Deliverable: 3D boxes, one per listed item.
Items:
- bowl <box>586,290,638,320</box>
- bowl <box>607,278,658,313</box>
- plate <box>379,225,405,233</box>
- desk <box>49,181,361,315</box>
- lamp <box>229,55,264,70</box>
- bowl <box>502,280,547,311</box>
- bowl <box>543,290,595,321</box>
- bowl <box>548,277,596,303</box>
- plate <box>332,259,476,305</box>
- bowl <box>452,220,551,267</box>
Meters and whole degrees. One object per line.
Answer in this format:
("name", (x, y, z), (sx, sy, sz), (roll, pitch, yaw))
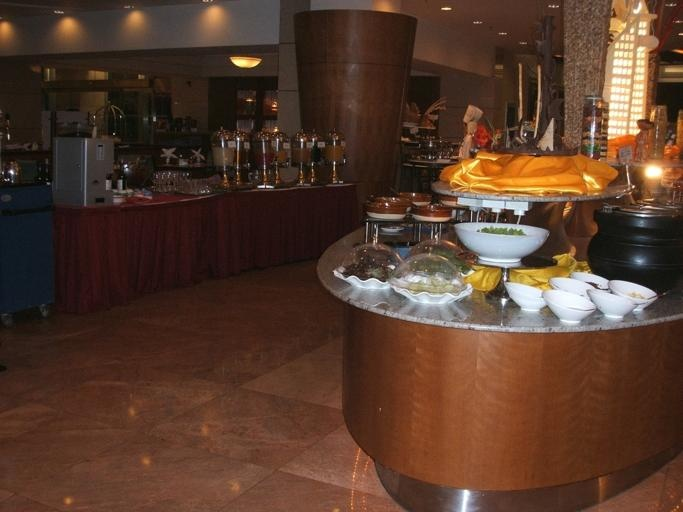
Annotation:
("bowl", (1.021, 0.185, 2.061), (0.131, 0.056, 0.121), (12, 15, -3))
("bowl", (1.170, 0.147, 2.178), (0.136, 0.053, 0.136), (10, 14, -3))
("plate", (0.329, -0.168, 3.435), (0.177, 0.040, 0.069), (-2, 14, -18))
("desk", (-1.231, -0.181, 5.693), (0.344, 0.945, 3.308), (13, 17, 37))
("lamp", (-2.067, -4.192, 11.531), (0.558, 0.265, 1.103), (0, 14, -12))
("bowl", (0.736, 0.171, 2.188), (0.164, 0.099, 0.099), (7, 14, 19))
("bowl", (0.879, 0.219, 2.087), (0.177, 0.080, 0.190), (2, -6, 0))
("bowl", (0.941, 0.130, 2.264), (0.108, 0.036, 0.111), (0, 21, 0))
("plate", (0.225, 0.119, 2.351), (0.630, 0.073, 0.228), (11, 16, 30))
("bowl", (0.709, -0.054, 2.450), (0.385, 0.184, 0.351), (3, 13, -1))
